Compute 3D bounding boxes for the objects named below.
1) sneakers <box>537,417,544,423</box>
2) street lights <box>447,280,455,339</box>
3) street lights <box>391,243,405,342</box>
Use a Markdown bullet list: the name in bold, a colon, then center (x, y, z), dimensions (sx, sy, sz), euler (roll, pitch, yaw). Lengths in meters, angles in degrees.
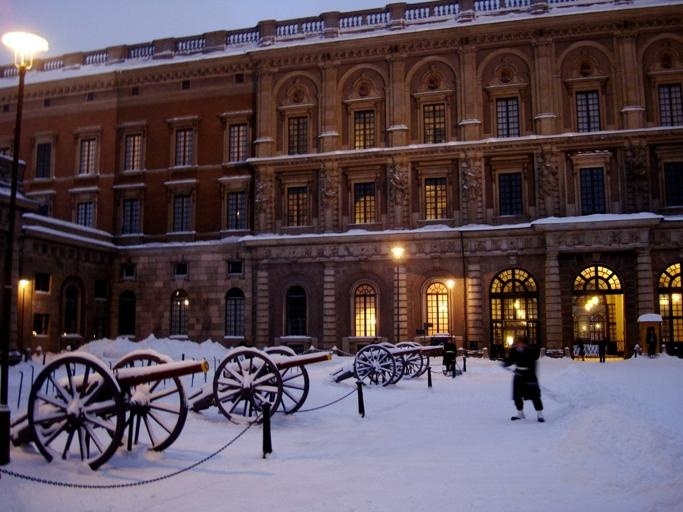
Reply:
- **sneakers**: center (5.846, 4.757, 21.983), dimensions (0.145, 0.159, 0.259), euler (-5, -6, 5)
- **street lights**: center (5.843, 2.667, 39.803), dimensions (0.478, 2.956, 0.361), euler (-5, -9, 24)
- **street lights**: center (3.103, 1.957, 40.334), dimensions (0.649, 5.093, 0.397), euler (-2, -8, 6)
